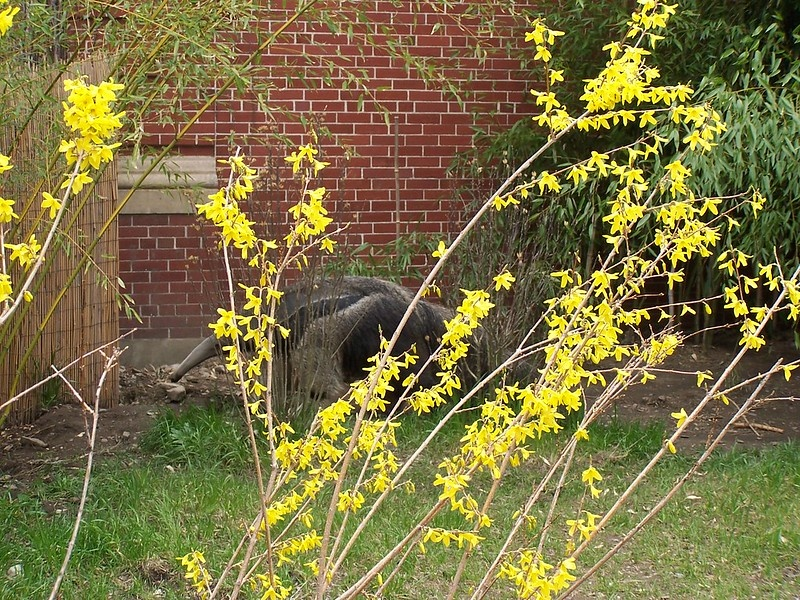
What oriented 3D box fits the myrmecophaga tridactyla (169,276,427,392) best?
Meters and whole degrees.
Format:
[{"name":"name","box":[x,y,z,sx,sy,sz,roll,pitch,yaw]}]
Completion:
[{"name":"myrmecophaga tridactyla","box":[-0.628,0.376,6.279,2.005,1.128,0.877,1,-5,-7]}]
